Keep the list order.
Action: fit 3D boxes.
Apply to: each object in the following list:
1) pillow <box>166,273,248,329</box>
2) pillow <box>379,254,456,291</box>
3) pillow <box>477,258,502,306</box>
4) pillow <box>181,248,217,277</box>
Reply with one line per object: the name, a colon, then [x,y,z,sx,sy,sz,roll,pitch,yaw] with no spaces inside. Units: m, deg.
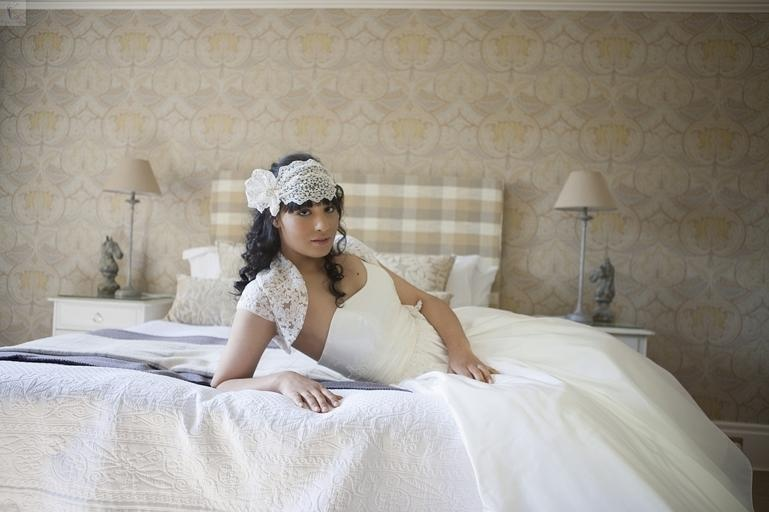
pillow: [-1.184,0.309,4.334,0.519,0.353,0.157,1,-22,19]
pillow: [0.246,0.095,4.362,0.291,0.130,0.305,16,29,1]
pillow: [0.736,0.180,4.632,0.263,0.295,0.081,4,0,-37]
pillow: [-1.323,0.032,4.709,0.225,0.250,0.108,-5,-13,29]
